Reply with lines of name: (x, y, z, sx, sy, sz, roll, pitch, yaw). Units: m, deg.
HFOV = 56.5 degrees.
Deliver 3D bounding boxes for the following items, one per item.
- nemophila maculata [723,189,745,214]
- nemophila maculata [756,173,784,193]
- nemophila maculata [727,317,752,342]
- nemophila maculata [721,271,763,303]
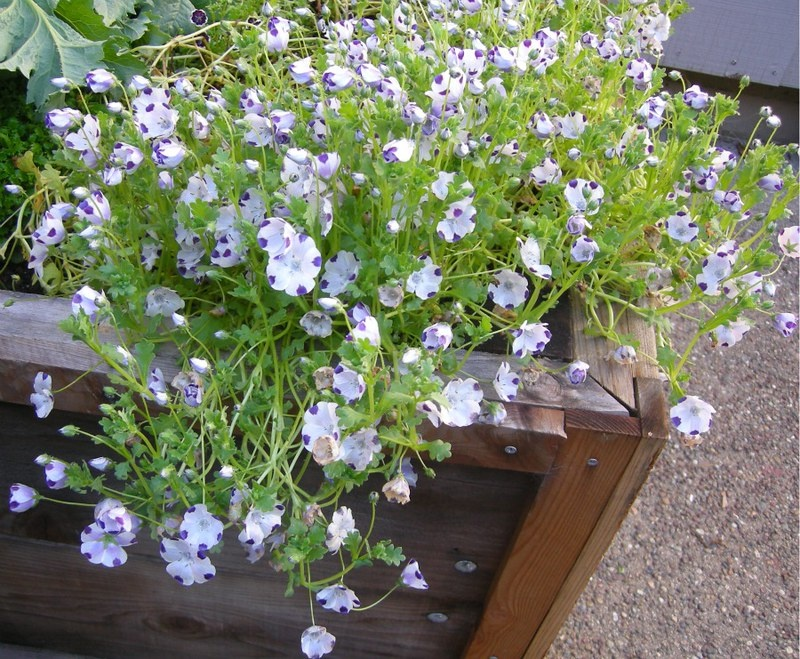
nemophila maculata: (0.543, -0.210, 1.214, 0.028, 0.017, 0.040, 21, 65, -20)
nemophila maculata: (0.610, -0.243, 1.226, 0.028, 0.021, 0.032, -2, 18, -6)
nemophila maculata: (0.572, -0.003, 1.251, 0.016, 0.041, 0.042, 18, 73, -20)
nemophila maculata: (0.573, -0.070, 1.253, 0.056, 0.030, 0.063, 15, 78, 37)
